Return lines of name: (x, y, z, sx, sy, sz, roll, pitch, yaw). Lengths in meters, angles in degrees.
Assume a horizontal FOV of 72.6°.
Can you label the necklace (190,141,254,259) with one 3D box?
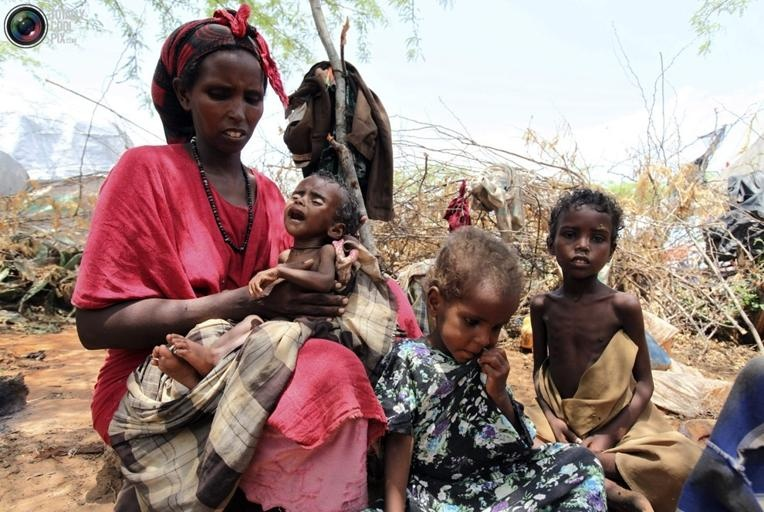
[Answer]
necklace: (-1.186, -0.395, 3.660, 0.102, 0.785, 0.519, -24, -13, 40)
